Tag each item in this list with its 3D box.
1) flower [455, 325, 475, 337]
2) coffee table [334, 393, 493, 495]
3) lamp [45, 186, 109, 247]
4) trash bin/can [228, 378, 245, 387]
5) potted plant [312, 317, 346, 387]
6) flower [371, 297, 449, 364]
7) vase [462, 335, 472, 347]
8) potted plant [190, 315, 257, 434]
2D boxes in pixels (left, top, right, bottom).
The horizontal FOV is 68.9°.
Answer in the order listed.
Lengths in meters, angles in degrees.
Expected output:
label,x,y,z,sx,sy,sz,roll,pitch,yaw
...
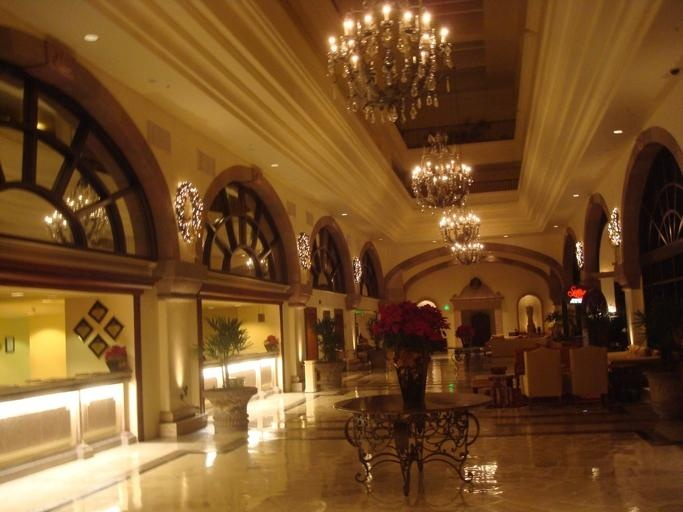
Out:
label,x,y,z,sx,sy,sz,roll,pitch,yaw
flower,4.321,2.537,17.164,0.480,0.465,0.476,0,2,-39
coffee table,0.965,2.208,6.321,1.612,0.992,2.318,-4,-7,17
lamp,-4.060,-0.685,7.697,0.211,1.019,1.154,-3,-6,13
trash bin/can,-1.990,2.320,9.247,0.195,0.105,0.228,7,-17,-33
potted plant,-0.372,2.813,14.969,0.826,1.990,2.750,-2,-6,-2
flower,0.812,0.825,5.910,0.674,0.625,0.653,3,-3,-37
vase,4.352,2.883,17.142,0.308,0.403,0.330,-3,-4,23
potted plant,-2.394,2.302,10.376,0.969,2.154,3.198,-1,-6,-15
